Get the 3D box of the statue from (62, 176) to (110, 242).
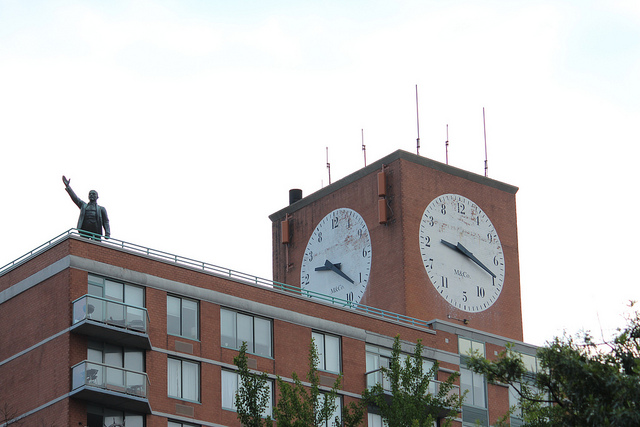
[{"bbox_3d":[-14.083,0.580,104.113,3.201,5.322,1.439,4,-23,-8],"label":"statue"}]
